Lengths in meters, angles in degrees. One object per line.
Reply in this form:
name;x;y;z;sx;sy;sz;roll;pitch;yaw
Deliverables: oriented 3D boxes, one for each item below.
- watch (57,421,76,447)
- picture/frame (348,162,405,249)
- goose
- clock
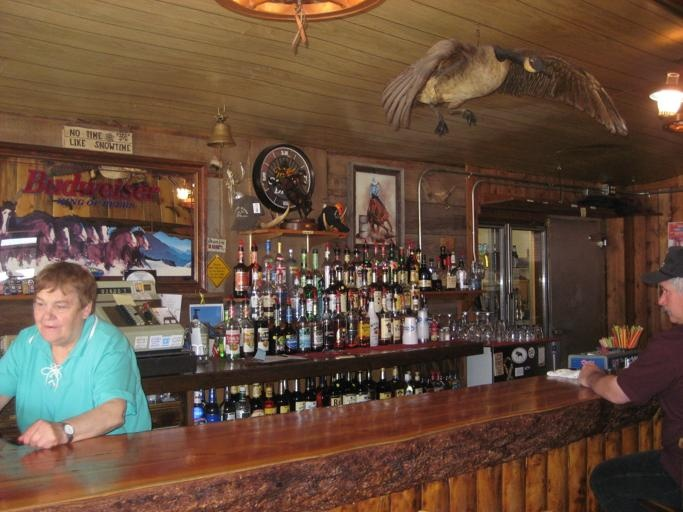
watch;-0.997;0.643;2.385;0.046;0.063;0.073;3;12;-3
picture/frame;0.243;-0.401;5.220;0.778;0.826;0.069;3;-5;-41
goose;0.789;-0.930;3.436;1.041;0.347;0.648;0;38;-28
clock;-0.387;-0.550;4.585;0.563;0.515;0.132;8;17;41
